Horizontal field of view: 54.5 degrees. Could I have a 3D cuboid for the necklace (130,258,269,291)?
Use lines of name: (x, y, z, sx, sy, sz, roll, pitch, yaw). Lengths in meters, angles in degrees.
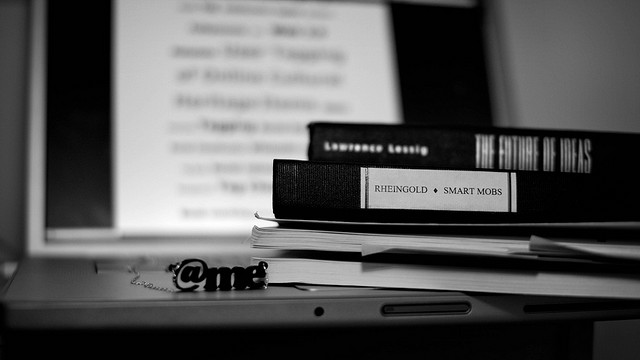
necklace: (-0.220, 0.154, 1.030, 0.260, 0.050, 0.094, -2, -4, 31)
